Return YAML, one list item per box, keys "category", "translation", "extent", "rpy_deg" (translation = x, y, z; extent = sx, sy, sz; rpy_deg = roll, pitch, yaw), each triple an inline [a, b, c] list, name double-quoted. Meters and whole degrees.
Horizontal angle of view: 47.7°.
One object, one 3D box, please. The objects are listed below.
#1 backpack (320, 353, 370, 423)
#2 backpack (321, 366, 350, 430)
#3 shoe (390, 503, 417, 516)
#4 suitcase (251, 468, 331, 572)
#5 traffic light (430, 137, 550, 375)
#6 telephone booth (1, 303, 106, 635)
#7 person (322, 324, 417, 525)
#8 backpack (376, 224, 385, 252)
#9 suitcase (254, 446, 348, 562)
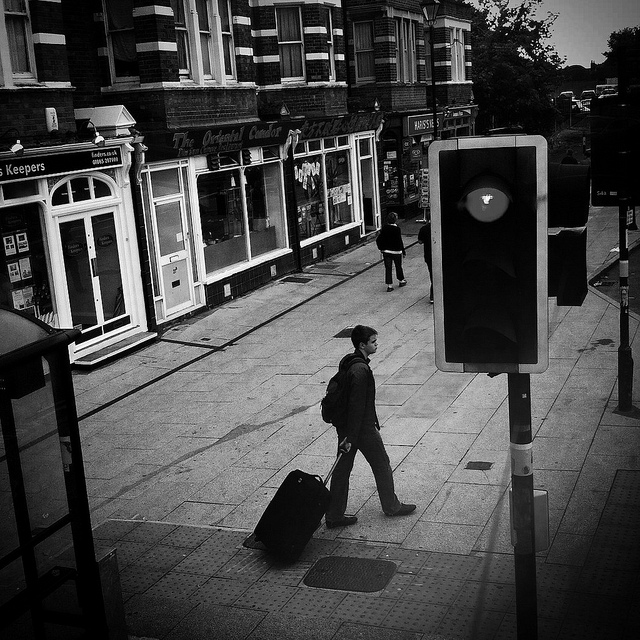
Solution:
- category: "backpack"
  translation: [0.200, 0.718, 6.992]
  extent: [0.391, 0.654, 0.458]
  rpy_deg: [1, 20, -12]
- category: "backpack"
  translation: [0.152, 0.757, 6.945]
  extent: [0.256, 0.571, 0.294]
  rpy_deg: [-8, 11, -18]
- category: "shoe"
  translation: [0.814, 1.862, 7.098]
  extent: [0.249, 0.119, 0.097]
  rpy_deg: [-12, 25, -9]
- category: "suitcase"
  translation: [-0.256, 1.955, 6.819]
  extent: [0.382, 0.682, 1.132]
  rpy_deg: [27, 43, 11]
- category: "traffic light"
  translation: [0.667, -0.235, 2.884]
  extent: [0.428, 1.062, 0.323]
  rpy_deg: [-1, -26, 13]
- category: "telephone booth"
  translation: [-1.460, 0.949, 4.019]
  extent: [0.540, 1.728, 0.667]
  rpy_deg: [-12, 25, -29]
- category: "person"
  translation: [0.380, 1.025, 7.159]
  extent: [0.758, 1.903, 1.333]
  rpy_deg: [-4, 11, 1]
- category: "backpack"
  translation: [1.489, -1.986, 17.761]
  extent: [0.188, 0.640, 0.359]
  rpy_deg: [-3, 11, 7]
- category: "suitcase"
  translation: [-0.185, 1.815, 7.008]
  extent: [0.367, 1.155, 0.288]
  rpy_deg: [22, -15, 19]
